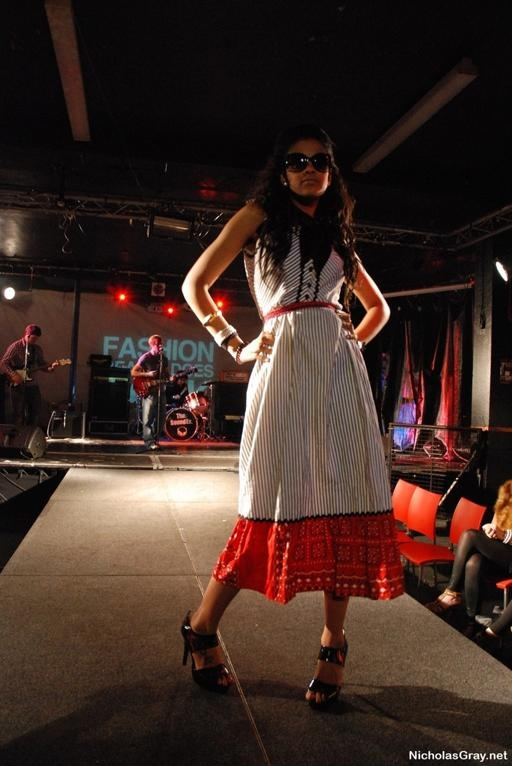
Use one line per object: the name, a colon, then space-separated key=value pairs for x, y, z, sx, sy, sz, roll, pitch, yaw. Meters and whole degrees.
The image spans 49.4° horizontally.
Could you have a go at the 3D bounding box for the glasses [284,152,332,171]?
glasses: x=0.129 y=-0.550 z=1.379 sx=0.072 sy=0.027 sz=0.067 roll=0 pitch=-1 yaw=-8

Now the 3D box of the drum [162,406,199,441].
drum: x=-1.584 y=0.830 z=11.559 sx=0.723 sy=0.676 sz=0.398 roll=-17 pitch=10 yaw=-25

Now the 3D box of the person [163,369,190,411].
person: x=-1.727 y=0.108 z=12.209 sx=0.276 sy=0.847 sz=0.619 roll=17 pitch=7 yaw=-11

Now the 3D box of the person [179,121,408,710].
person: x=0.099 y=0.037 z=1.391 sx=0.545 sy=1.397 sz=0.309 roll=5 pitch=-5 yaw=-21

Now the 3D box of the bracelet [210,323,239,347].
bracelet: x=-0.078 y=-0.120 z=1.430 sx=0.059 sy=0.041 sz=0.059 roll=-34 pitch=8 yaw=13

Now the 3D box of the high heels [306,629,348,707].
high heels: x=0.173 y=0.668 z=1.316 sx=0.057 sy=0.065 sz=0.166 roll=1 pitch=25 yaw=21

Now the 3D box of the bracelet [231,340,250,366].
bracelet: x=-0.034 y=-0.075 z=1.380 sx=0.026 sy=0.061 sz=0.047 roll=-4 pitch=-1 yaw=-12
